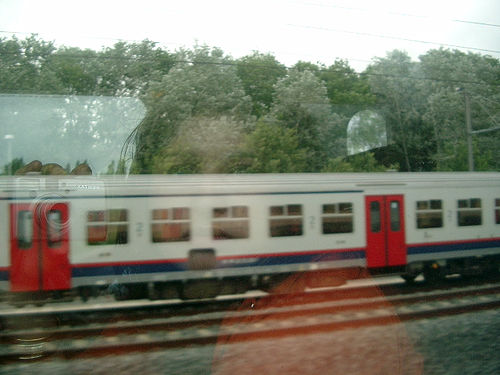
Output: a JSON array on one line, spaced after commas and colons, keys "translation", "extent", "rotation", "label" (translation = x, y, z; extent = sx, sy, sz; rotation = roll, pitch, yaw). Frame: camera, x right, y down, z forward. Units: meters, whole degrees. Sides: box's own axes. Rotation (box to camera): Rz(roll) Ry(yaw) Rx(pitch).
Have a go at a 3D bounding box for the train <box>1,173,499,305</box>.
[{"translation": [1.113, 1.241, 12.257], "extent": [13.885, 3.562, 4.006], "rotation": [-3, 4, -32], "label": "train"}]
